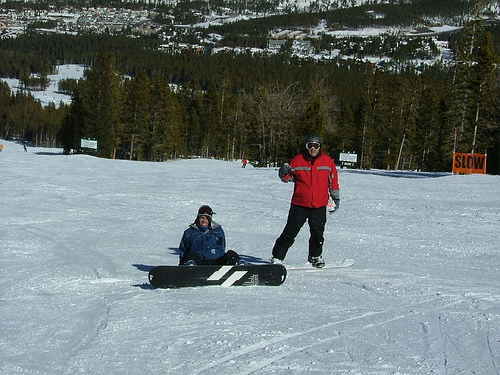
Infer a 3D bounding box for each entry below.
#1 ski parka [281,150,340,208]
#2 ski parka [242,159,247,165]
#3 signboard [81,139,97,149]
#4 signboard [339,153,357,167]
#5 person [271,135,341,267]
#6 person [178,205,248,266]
[{"bbox_3d":[1.175,-0.127,11.925,0.980,1.086,0.580,3,-9,2],"label":"ski parka"},{"bbox_3d":[-0.546,-1.927,52.263,0.337,0.391,0.370,0,-10,4],"label":"ski parka"},{"bbox_3d":[-15.127,-3.710,58.511,1.375,0.479,0.357,3,1,-7],"label":"signboard"},{"bbox_3d":[9.487,-2.461,60.967,1.300,1.221,0.491,1,-1,2],"label":"signboard"},{"bbox_3d":[1.066,0.243,11.912,0.860,1.847,1.024,4,2,43],"label":"person"},{"bbox_3d":[-0.756,0.782,11.107,0.762,0.977,1.165,-1,-2,-20],"label":"person"}]
